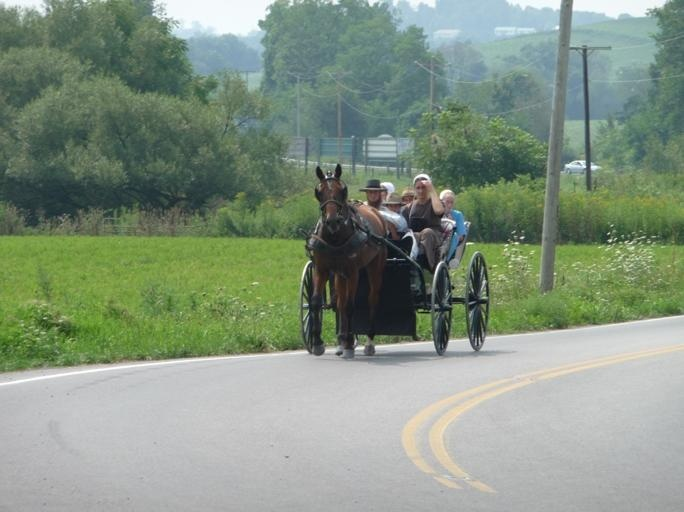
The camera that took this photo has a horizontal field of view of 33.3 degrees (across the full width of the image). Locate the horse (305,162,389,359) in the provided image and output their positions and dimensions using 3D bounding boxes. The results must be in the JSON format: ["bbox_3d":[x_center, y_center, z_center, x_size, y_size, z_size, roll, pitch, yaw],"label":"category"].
[{"bbox_3d":[0.003,0.024,18.245,1.236,3.105,1.812,0,10,4],"label":"horse"}]

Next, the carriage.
[{"bbox_3d":[0.882,0.248,18.998,2.235,2.423,3.627,-1,-16,15],"label":"carriage"}]
